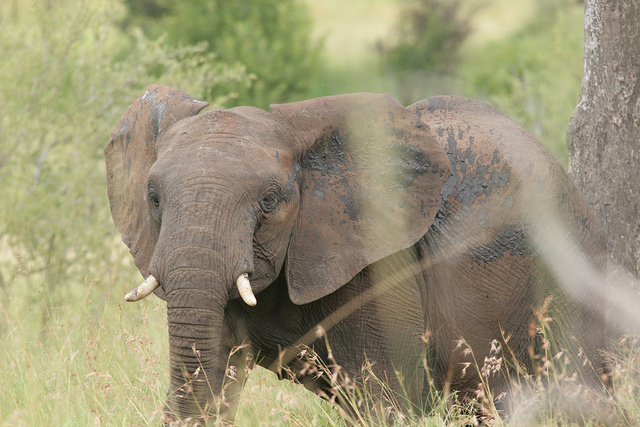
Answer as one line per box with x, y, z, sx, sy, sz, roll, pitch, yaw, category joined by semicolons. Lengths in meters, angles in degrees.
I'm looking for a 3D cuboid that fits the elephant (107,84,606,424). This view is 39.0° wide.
0.234;0.294;6.517;3.073;1.981;2.302;2;85;-29;elephant
